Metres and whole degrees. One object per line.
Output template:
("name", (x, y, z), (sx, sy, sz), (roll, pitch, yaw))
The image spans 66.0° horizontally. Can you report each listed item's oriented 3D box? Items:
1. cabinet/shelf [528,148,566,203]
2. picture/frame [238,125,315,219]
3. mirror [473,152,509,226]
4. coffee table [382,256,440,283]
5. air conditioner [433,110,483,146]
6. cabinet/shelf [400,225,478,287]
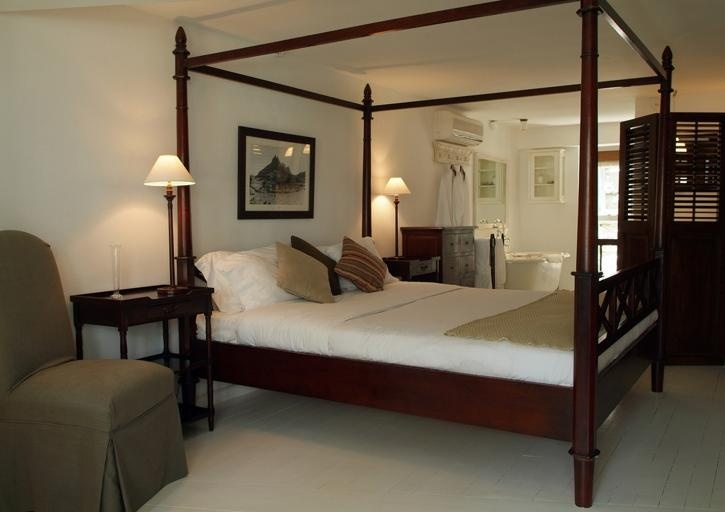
("cabinet/shelf", (3.325, -1.421, 10.196), (0.545, 0.929, 0.282), (1, 3, 27))
("picture/frame", (-0.810, -0.750, 5.298), (0.023, 0.813, 0.907), (9, 10, 43))
("mirror", (2.148, -1.132, 9.483), (0.117, 1.605, 1.340), (0, 2, 34))
("coffee table", (0.507, 0.053, 6.280), (0.333, 0.394, 0.484), (1, 2, 30))
("air conditioner", (1.426, -1.833, 8.120), (0.313, 0.410, 1.100), (8, 9, 35))
("cabinet/shelf", (1.016, 0.117, 7.291), (0.532, 0.997, 1.054), (2, 3, 33))
